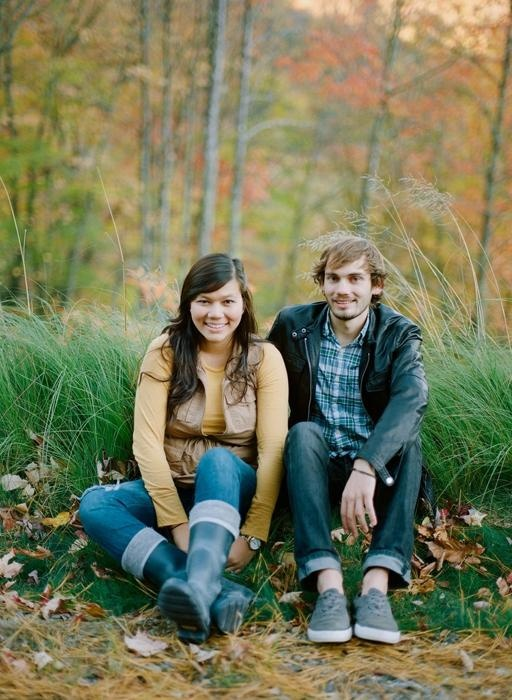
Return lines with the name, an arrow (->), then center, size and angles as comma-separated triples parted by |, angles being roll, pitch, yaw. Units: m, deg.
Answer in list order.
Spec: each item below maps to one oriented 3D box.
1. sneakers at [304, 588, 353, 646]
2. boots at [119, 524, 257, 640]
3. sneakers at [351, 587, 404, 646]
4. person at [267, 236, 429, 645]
sneakers -> 0.231, 0.828, 1.847 | 0.095, 0.079, 0.218 | 0, -5, 6
boots -> -0.180, 0.683, 1.820 | 0.166, 0.309, 0.346 | -5, -27, 13
sneakers -> 0.383, 0.862, 1.897 | 0.157, 0.159, 0.166 | 6, 12, 15
person -> 0.356, 0.236, 2.202 | 0.644, 1.300, 1.063 | 3, 12, 0
